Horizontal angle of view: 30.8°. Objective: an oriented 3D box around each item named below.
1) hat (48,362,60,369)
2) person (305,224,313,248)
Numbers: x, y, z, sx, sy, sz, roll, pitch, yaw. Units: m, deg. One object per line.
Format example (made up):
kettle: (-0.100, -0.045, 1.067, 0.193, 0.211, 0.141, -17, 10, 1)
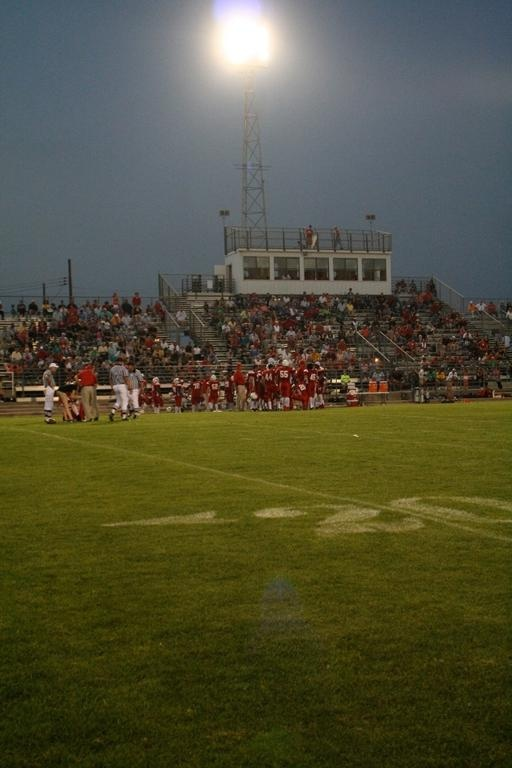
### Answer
hat: (-5.106, -0.468, 23.445, 0.264, 0.174, 0.340, 2, -6, -43)
person: (2.755, -7.651, 48.567, 0.440, 1.170, 0.357, -1, 2, -5)
